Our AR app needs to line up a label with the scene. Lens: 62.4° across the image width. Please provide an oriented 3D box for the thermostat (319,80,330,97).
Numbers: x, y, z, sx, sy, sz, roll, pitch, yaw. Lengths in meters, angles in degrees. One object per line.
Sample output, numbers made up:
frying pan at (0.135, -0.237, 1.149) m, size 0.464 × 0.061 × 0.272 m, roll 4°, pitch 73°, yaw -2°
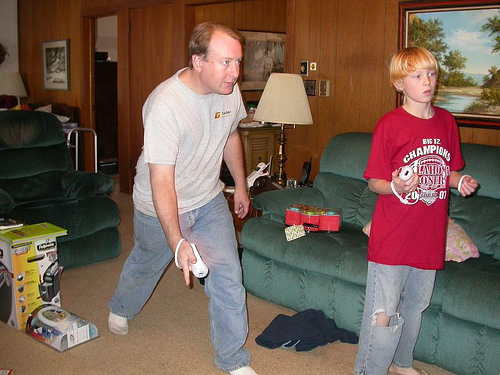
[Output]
thermostat at (0.724, -0.971, 4.021) m, size 0.145 × 0.138 × 0.038 m, roll 9°, pitch 10°, yaw 38°

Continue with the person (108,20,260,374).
person at (-0.272, 0.104, 2.107) m, size 0.722 × 1.806 × 0.936 m, roll -4°, pitch 13°, yaw -24°

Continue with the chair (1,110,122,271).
chair at (-1.700, -0.033, 3.675) m, size 0.873 × 1.232 × 1.009 m, roll -6°, pitch 14°, yaw -31°

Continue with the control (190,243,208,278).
control at (-0.204, 0.300, 1.713) m, size 0.058 × 0.138 × 0.050 m, roll -24°, pitch -23°, yaw -13°

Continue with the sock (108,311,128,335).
sock at (-0.830, 0.837, 2.565) m, size 0.089 × 0.148 × 0.146 m, roll 1°, pitch -6°, yaw -36°

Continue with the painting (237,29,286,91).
painting at (0.208, -1.931, 6.295) m, size 0.051 × 1.109 × 1.141 m, roll -6°, pitch 15°, yaw -38°

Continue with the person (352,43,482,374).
person at (0.799, 0.194, 2.041) m, size 0.546 × 1.704 × 0.385 m, roll -5°, pitch 13°, yaw -27°

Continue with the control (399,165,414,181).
control at (0.650, -0.058, 1.720) m, size 0.051 × 0.058 × 0.028 m, roll 5°, pitch 13°, yaw 19°

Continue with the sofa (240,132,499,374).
sofa at (0.717, 0.427, 2.409) m, size 0.661 × 0.743 × 1.214 m, roll 12°, pitch 3°, yaw -45°
